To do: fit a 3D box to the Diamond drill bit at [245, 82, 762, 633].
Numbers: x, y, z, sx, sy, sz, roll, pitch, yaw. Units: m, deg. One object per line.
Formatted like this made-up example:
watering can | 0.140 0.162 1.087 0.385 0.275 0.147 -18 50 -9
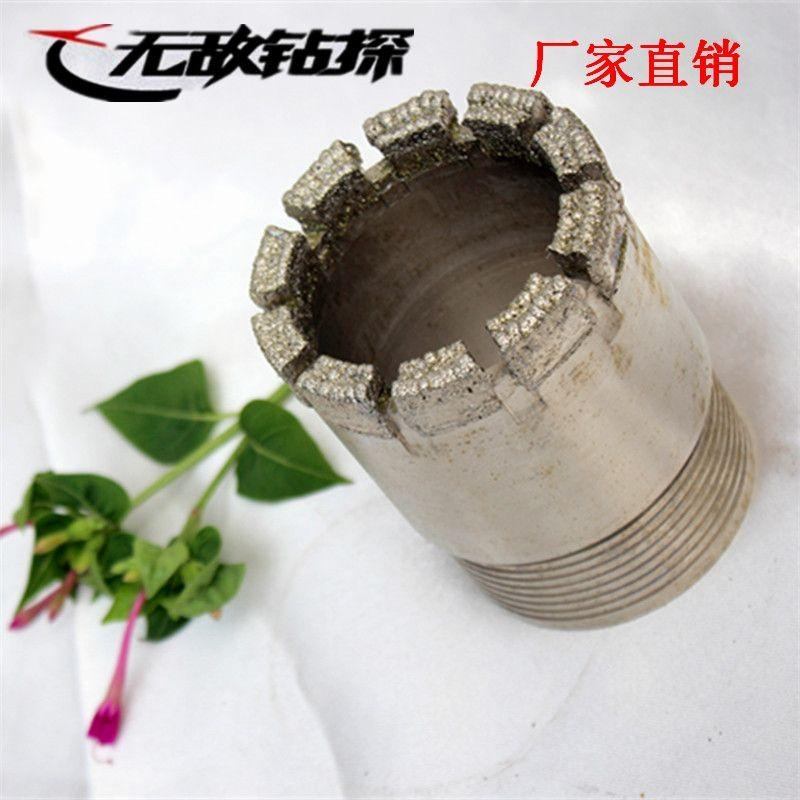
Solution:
Diamond drill bit | 0.130 -0.030 0.949 0.343 0.501 0.364 -36 40 3
